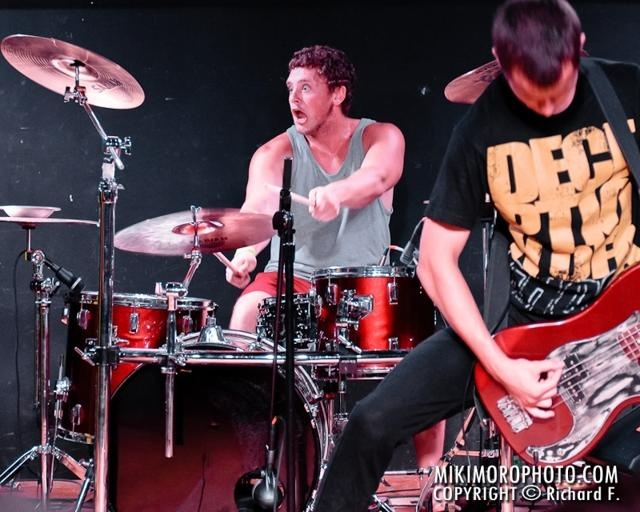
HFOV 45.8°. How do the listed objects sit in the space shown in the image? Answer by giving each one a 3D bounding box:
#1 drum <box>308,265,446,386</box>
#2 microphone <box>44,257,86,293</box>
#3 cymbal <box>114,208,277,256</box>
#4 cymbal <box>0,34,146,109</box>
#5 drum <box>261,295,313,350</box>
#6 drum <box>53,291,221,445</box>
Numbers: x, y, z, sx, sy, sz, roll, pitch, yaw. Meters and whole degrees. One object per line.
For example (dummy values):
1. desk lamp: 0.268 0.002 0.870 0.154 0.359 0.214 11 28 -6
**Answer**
1. drum: 0.261 0.289 3.282 0.464 0.382 0.485 0 -6 0
2. microphone: -1.316 0.094 3.909 0.205 0.049 0.065 43 33 19
3. cymbal: -0.566 -0.105 3.397 0.712 0.211 0.546 -1 3 -3
4. cymbal: -1.109 -0.823 3.453 0.448 0.116 0.472 6 -26 37
5. drum: -0.130 0.287 3.386 0.242 0.257 0.246 -6 -11 39
6. drum: -0.876 0.530 3.588 0.652 0.677 0.711 1 -8 19
